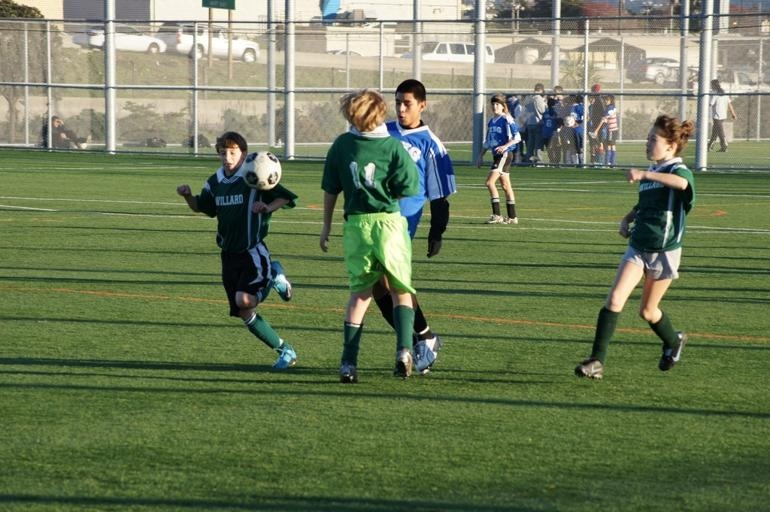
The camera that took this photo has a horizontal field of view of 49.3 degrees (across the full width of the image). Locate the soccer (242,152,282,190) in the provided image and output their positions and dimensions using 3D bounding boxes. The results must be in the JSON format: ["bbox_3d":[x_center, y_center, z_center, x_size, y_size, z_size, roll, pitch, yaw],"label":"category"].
[{"bbox_3d":[-0.975,-0.673,6.659,0.310,0.292,0.258,-2,12,-10],"label":"soccer"}]

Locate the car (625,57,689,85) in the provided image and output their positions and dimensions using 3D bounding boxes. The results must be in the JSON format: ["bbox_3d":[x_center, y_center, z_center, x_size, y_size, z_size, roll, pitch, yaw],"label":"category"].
[{"bbox_3d":[8.481,-5.928,27.015,2.128,0.617,0.901,-8,12,-31],"label":"car"}]

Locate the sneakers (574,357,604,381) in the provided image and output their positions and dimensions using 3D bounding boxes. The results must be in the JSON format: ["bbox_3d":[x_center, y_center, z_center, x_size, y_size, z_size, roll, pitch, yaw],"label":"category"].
[{"bbox_3d":[1.544,0.850,6.443,0.281,0.120,0.108,6,10,-14],"label":"sneakers"}]

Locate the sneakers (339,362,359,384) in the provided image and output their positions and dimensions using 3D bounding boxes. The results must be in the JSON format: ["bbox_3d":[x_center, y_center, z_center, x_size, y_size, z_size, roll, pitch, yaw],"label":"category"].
[{"bbox_3d":[-0.271,0.861,6.369,0.135,0.150,0.224,0,12,-2],"label":"sneakers"}]

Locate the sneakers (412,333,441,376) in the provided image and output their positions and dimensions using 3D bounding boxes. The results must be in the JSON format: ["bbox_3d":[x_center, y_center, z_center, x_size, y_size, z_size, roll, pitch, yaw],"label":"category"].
[{"bbox_3d":[0.352,0.744,6.551,0.133,0.339,0.165,3,-26,39],"label":"sneakers"}]

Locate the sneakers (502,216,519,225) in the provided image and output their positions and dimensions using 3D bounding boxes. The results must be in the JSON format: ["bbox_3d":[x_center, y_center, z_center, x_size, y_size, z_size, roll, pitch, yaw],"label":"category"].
[{"bbox_3d":[2.096,-0.590,14.115,0.268,0.106,0.108,4,7,-13],"label":"sneakers"}]

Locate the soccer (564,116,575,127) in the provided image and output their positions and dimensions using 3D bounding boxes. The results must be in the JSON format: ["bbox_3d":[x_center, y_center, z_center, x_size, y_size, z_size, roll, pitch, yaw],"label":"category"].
[{"bbox_3d":[5.261,-3.851,24.197,0.275,0.196,0.291,2,-14,1],"label":"soccer"}]

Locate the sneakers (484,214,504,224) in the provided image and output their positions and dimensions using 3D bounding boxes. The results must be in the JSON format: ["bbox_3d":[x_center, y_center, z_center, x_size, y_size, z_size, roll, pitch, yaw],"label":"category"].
[{"bbox_3d":[1.801,-0.616,14.064,0.304,0.122,0.112,1,8,-1],"label":"sneakers"}]

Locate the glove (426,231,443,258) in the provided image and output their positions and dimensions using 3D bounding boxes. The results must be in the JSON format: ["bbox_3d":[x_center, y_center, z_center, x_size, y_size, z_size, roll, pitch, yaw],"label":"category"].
[{"bbox_3d":[0.393,-0.084,6.781,0.115,0.216,0.095,2,22,-8],"label":"glove"}]

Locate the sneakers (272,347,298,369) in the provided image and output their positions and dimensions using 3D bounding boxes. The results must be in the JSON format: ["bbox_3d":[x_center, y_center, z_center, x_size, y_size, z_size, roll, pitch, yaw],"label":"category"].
[{"bbox_3d":[-0.753,0.777,6.672,0.118,0.169,0.272,8,14,30],"label":"sneakers"}]

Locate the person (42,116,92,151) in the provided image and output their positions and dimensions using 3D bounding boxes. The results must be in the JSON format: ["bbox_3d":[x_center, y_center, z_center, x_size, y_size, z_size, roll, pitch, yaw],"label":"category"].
[{"bbox_3d":[-11.295,-4.391,29.889,1.665,1.090,0.731,-2,12,-14],"label":"person"}]

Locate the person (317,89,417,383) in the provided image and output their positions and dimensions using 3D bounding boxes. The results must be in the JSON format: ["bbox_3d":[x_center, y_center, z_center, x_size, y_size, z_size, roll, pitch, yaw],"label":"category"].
[{"bbox_3d":[-0.129,-0.154,6.354,0.735,2.136,0.610,1,12,3],"label":"person"}]

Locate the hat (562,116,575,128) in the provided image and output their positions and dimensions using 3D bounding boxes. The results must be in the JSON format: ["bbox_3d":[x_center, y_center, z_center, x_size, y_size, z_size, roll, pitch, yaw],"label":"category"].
[{"bbox_3d":[5.231,-3.855,24.205,0.326,0.273,0.273,3,-8,10],"label":"hat"}]

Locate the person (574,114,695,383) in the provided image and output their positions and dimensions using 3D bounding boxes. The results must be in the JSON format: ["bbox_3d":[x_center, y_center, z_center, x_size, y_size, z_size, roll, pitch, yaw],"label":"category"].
[{"bbox_3d":[1.977,-0.075,6.464,1.003,1.970,0.504,-6,14,-29],"label":"person"}]

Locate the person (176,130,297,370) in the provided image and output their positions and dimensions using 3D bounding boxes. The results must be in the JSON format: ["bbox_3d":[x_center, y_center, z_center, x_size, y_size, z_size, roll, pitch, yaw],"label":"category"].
[{"bbox_3d":[-1.018,-0.061,6.696,0.607,1.794,0.728,-3,13,-17],"label":"person"}]
